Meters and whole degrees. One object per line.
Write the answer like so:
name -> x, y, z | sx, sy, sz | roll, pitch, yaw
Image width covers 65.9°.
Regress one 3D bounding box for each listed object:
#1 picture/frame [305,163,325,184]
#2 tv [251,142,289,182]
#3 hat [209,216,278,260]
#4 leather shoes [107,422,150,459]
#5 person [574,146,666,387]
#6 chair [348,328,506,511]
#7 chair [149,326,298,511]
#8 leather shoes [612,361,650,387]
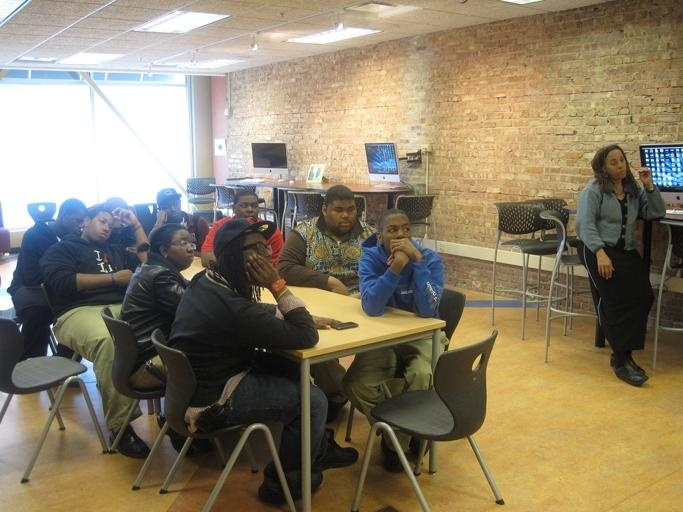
picture/frame -> -0.458, -1.459, 9.380 | 0.050, 0.348, 0.458 | 19, 1, -39
tv -> -1.365, -1.833, 10.197 | 0.943, 0.748, 0.321 | 9, 19, 34
hat -> -0.540, -0.089, 2.909 | 0.426, 0.198, 0.290 | -17, 4, -10
leather shoes -> -1.348, 1.154, 3.300 | 0.349, 0.126, 0.126 | -1, 0, 45
person -> 2.387, 0.032, 4.298 | 0.662, 1.844, 0.692 | -8, 13, -26
chair -> 0.451, 0.845, 2.650 | 0.616, 0.976, 0.525 | 5, 13, 32
chair -> -0.637, 0.842, 2.713 | 0.538, 0.958, 0.734 | -10, 14, -34
leather shoes -> 2.288, 0.936, 4.153 | 0.128, 0.096, 0.236 | -10, 6, -23
